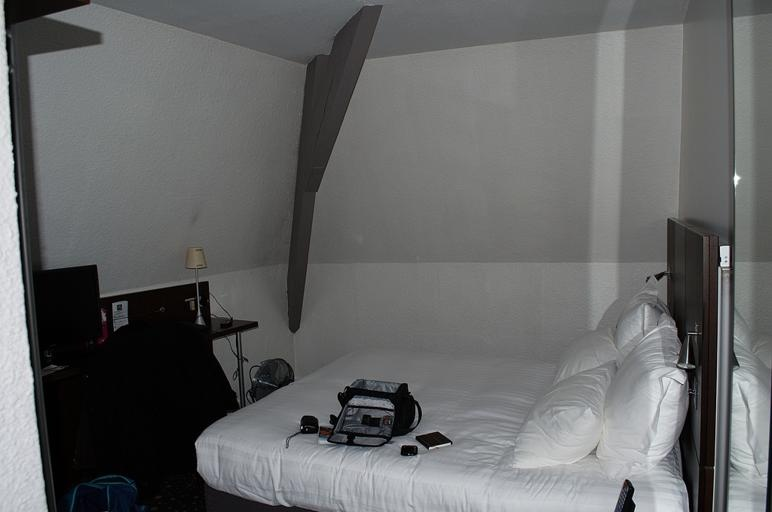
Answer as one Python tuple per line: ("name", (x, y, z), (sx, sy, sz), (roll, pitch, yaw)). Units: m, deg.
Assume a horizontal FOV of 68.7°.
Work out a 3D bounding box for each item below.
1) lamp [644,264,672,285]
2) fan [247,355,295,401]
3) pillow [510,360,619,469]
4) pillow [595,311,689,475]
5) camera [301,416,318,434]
("lamp", (2.028, 0.129, 4.203), (0.168, 0.095, 0.125), (-15, 0, -16))
("fan", (-1.024, 1.106, 4.981), (0.407, 0.380, 0.309), (1, -7, 6))
("pillow", (1.016, 0.767, 3.492), (0.586, 0.437, 1.189), (0, 15, 9))
("pillow", (1.485, 0.680, 3.138), (0.413, 0.450, 1.022), (-7, 10, 29))
("camera", (-0.461, 0.990, 3.378), (0.091, 0.048, 0.095), (-4, 13, -10))
